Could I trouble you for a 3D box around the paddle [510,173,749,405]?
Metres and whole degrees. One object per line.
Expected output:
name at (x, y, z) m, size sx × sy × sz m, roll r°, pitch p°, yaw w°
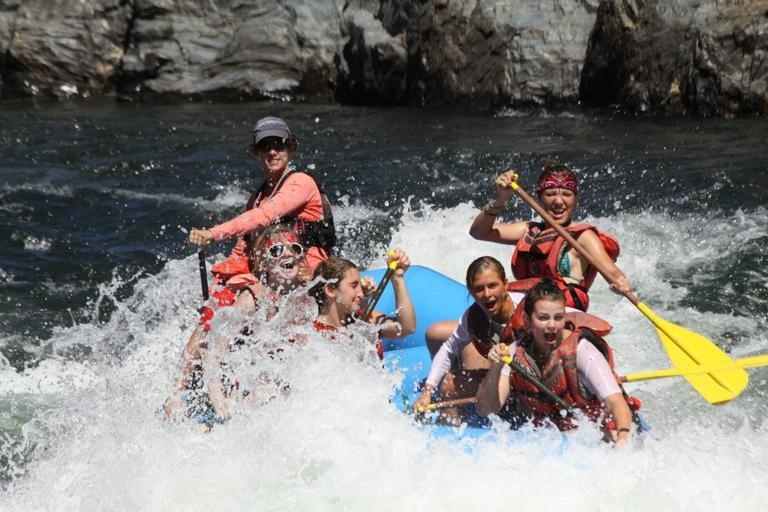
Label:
paddle at (2.863, 0.438, 9.835) m, size 0.618 × 0.246 × 3.533 m, roll -41°, pitch 75°, yaw -17°
